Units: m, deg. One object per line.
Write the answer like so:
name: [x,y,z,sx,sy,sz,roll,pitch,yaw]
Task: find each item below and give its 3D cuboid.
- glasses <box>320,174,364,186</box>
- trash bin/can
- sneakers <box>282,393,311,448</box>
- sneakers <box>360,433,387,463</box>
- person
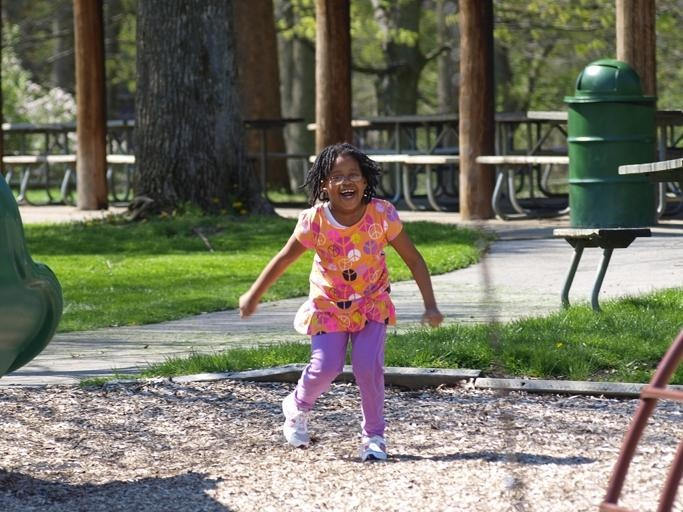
glasses: [0.023,-0.560,11.907,0.238,0.067,0.053,0,6,5]
trash bin/can: [2.450,-1.033,14.977,0.823,1.547,0.407,0,6,8]
sneakers: [-0.351,1.224,12.080,0.159,0.428,0.175,-5,-6,-33]
sneakers: [0.230,1.401,11.852,0.145,0.164,0.391,0,-9,1]
person: [0.027,0.323,11.963,1.322,2.281,0.482,0,6,7]
